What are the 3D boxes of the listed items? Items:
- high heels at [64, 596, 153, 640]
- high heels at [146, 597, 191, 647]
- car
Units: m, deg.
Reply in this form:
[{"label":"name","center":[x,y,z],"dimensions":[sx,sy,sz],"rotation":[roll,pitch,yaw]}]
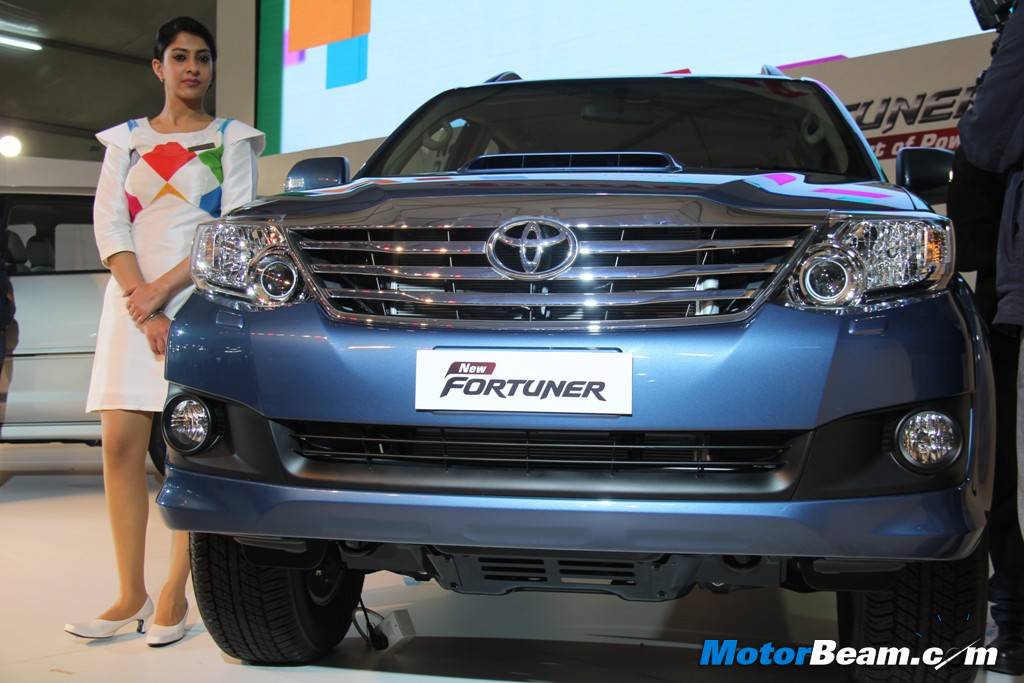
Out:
[{"label":"high heels","center":[-1.383,0.992,2.766],"dimensions":[0.104,0.144,0.337],"rotation":[-17,-22,40]},{"label":"high heels","center":[-1.161,0.979,2.641],"dimensions":[0.076,0.052,0.200],"rotation":[0,-10,-3]},{"label":"car","center":[0.358,0.162,2.990],"dimensions":[1.448,1.246,2.396],"rotation":[-1,-5,10]}]
